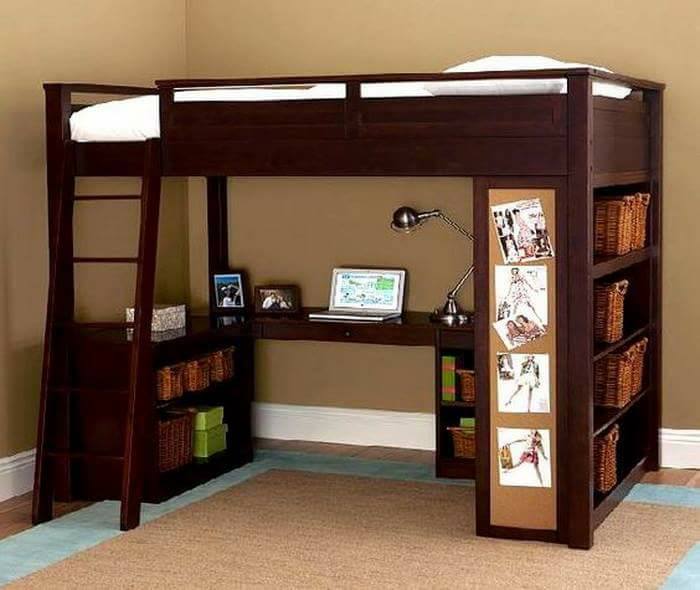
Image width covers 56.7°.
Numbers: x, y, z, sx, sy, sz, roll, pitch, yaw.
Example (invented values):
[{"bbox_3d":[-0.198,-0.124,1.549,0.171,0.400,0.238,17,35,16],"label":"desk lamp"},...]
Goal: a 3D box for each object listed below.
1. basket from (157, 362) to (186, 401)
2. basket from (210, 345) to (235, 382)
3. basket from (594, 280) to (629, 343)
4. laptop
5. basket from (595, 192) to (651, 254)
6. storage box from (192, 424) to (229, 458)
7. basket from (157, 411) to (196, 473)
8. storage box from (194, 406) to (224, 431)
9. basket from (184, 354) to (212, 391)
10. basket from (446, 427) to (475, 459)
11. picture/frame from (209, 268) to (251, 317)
[{"bbox_3d":[-0.886,0.451,3.358,0.194,0.159,0.123,-8,-3,24],"label":"basket"},{"bbox_3d":[-0.720,0.390,3.785,0.130,0.221,0.239,1,4,12],"label":"basket"},{"bbox_3d":[1.234,0.074,3.158,0.181,0.294,0.234,-5,4,-25],"label":"basket"},{"bbox_3d":[0.091,-0.013,3.923,0.425,0.276,0.348,3,8,19],"label":"laptop"},{"bbox_3d":[1.302,-0.334,3.230,0.365,0.297,0.305,-4,6,-36],"label":"basket"},{"bbox_3d":[-0.794,0.793,3.719,0.122,0.120,0.228,1,3,19],"label":"storage box"},{"bbox_3d":[-0.910,0.769,3.443,0.192,0.270,0.359,1,5,9],"label":"basket"},{"bbox_3d":[-0.800,0.669,3.701,0.097,0.094,0.182,1,4,14],"label":"storage box"},{"bbox_3d":[-0.819,0.430,3.524,0.111,0.133,0.144,0,7,4],"label":"basket"},{"bbox_3d":[0.623,0.820,3.654,0.184,0.171,0.216,0,3,8],"label":"basket"},{"bbox_3d":[-0.806,0.033,4.271,0.225,0.323,0.212,-1,-37,-21],"label":"picture/frame"}]
